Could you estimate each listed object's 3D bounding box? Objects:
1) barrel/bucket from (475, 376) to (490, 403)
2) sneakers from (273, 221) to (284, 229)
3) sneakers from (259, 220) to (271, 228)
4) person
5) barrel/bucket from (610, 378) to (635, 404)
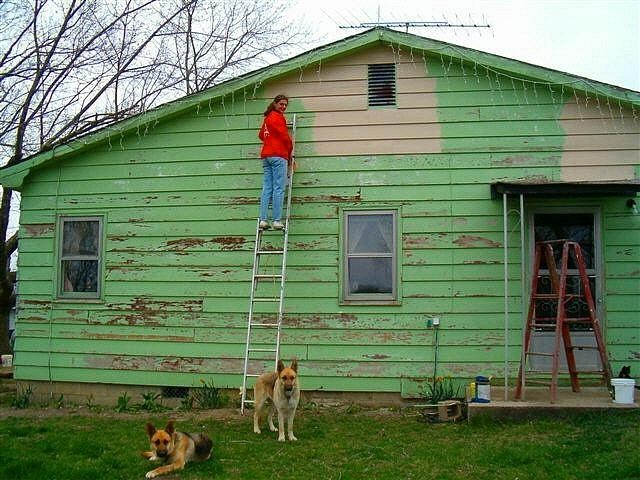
[{"bbox_3d":[2.477,2.272,11.594,0.238,0.341,0.416,0,9,11],"label":"barrel/bucket"},{"bbox_3d":[-0.709,-0.243,12.450,0.186,0.156,0.220,-2,9,-3],"label":"sneakers"},{"bbox_3d":[-0.935,-0.251,12.496,0.163,0.154,0.261,1,9,18],"label":"sneakers"},{"bbox_3d":[-0.777,-1.279,12.506,0.603,2.207,0.709,-2,10,2],"label":"person"},{"bbox_3d":[4.548,2.242,11.292,0.376,0.350,0.305,-2,9,-2],"label":"barrel/bucket"}]
